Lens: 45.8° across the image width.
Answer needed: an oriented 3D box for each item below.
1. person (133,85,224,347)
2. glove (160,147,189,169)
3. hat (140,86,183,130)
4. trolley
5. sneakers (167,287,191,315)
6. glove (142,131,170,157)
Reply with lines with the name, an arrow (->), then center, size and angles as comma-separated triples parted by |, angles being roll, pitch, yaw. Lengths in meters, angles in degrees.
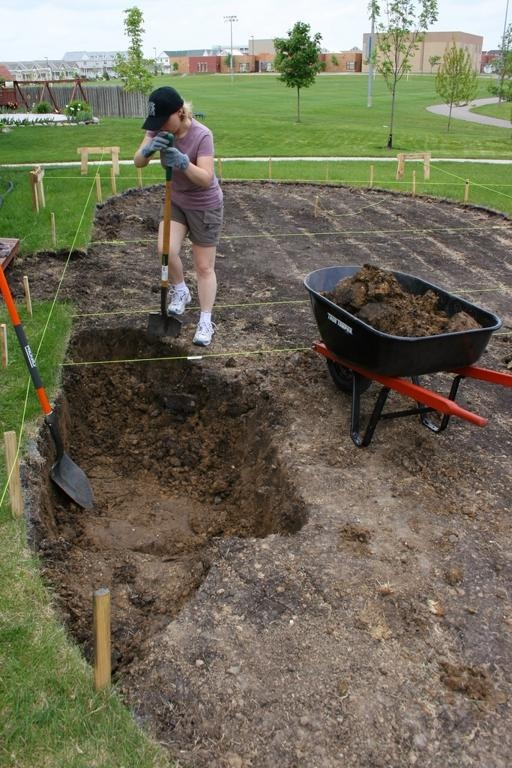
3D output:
person -> -0.613, -1.347, 5.150 | 0.643, 2.084, 1.121 | -1, 23, -3
glove -> -0.624, -1.684, 4.485 | 0.207, 0.162, 0.095 | 27, 52, 12
hat -> -0.688, -2.030, 4.491 | 0.310, 0.300, 0.233 | -2, 23, -7
trolley -> 1.050, -0.183, 4.341 | 1.130, 1.086, 1.984 | -5, 24, -13
sneakers -> -0.768, -0.822, 5.966 | 0.149, 0.187, 0.413 | -1, 20, 4
glove -> -0.754, -1.799, 4.602 | 0.183, 0.180, 0.453 | -8, 25, -20
